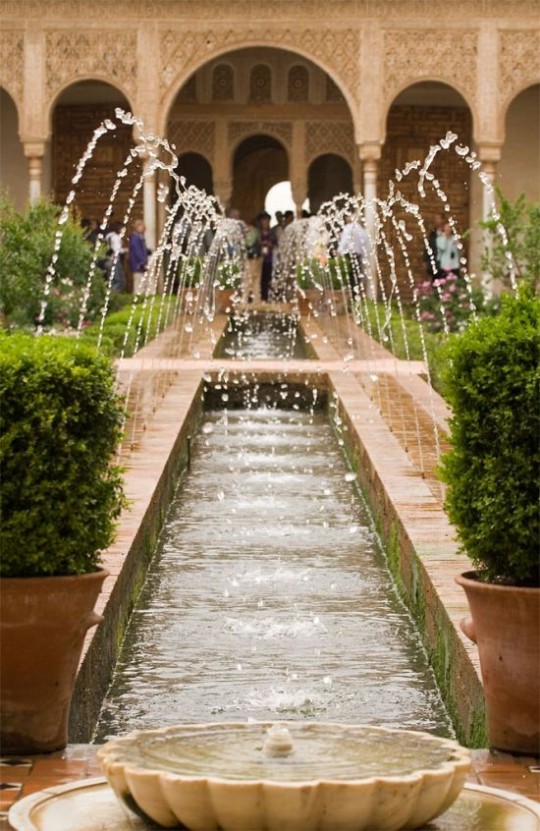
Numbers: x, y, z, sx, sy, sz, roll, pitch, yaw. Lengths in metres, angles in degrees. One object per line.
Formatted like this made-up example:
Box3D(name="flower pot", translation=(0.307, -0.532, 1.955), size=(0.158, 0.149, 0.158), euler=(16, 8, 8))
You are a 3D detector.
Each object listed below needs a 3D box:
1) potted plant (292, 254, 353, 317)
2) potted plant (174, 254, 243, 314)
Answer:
Box3D(name="potted plant", translation=(0.672, -1.672, 15.087), size=(0.702, 0.747, 0.599), euler=(1, 8, 2))
Box3D(name="potted plant", translation=(-0.765, -1.706, 15.355), size=(0.703, 0.732, 1.449), euler=(3, 8, 16))
